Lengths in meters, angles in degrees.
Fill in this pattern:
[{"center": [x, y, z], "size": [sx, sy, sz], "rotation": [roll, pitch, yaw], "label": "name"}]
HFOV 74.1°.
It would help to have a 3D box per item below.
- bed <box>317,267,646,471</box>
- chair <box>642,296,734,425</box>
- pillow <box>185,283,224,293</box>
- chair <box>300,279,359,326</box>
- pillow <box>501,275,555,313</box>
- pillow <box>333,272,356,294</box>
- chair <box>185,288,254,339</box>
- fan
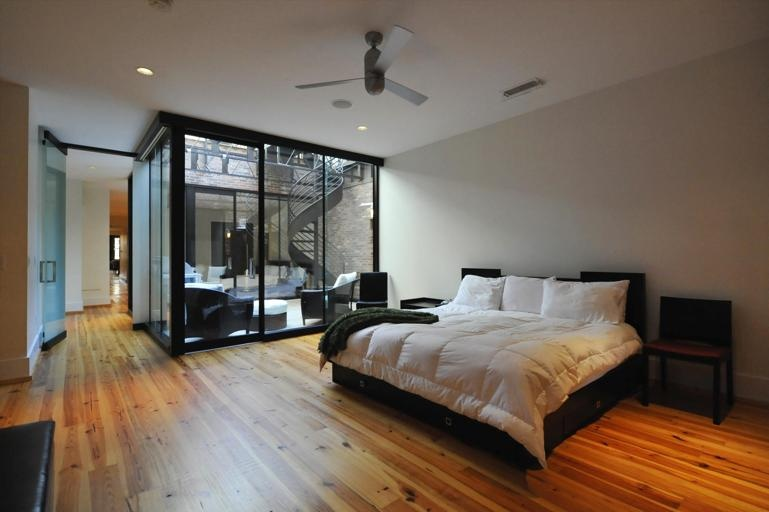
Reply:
[{"center": [1.258, 1.006, 5.913], "size": [2.662, 1.451, 2.565], "rotation": [8, 13, 42], "label": "bed"}, {"center": [3.308, 1.095, 5.573], "size": [0.753, 1.213, 0.693], "rotation": [3, 7, 40], "label": "chair"}, {"center": [-2.496, 0.439, 7.085], "size": [0.511, 0.171, 0.058], "rotation": [-6, 11, -30], "label": "pillow"}, {"center": [-0.881, 0.743, 8.592], "size": [0.965, 0.828, 0.787], "rotation": [1, 5, -7], "label": "chair"}, {"center": [1.834, 0.506, 6.451], "size": [0.451, 0.337, 0.172], "rotation": [-1, -35, 37], "label": "pillow"}, {"center": [-0.624, 0.454, 8.465], "size": [0.341, 0.422, 0.345], "rotation": [2, 1, 32], "label": "pillow"}, {"center": [-2.485, 0.849, 7.434], "size": [0.729, 0.867, 0.858], "rotation": [5, 6, 35], "label": "chair"}, {"center": [-0.078, -2.015, 5.446], "size": [1.060, 0.687, 1.399], "rotation": [-4, 10, -21], "label": "fan"}]
